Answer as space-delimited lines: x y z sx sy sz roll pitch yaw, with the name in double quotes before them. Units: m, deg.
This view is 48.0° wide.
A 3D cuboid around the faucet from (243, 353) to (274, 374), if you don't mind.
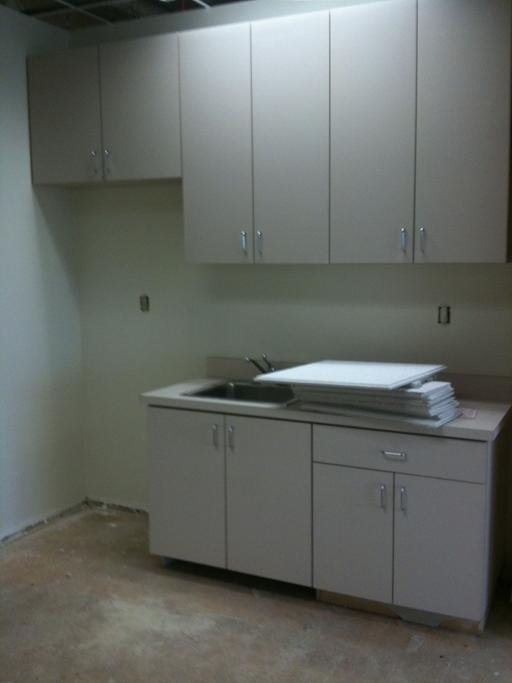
"faucet" 0.020 0.111 2.577 0.132 0.094 0.337 -1 1 -1
